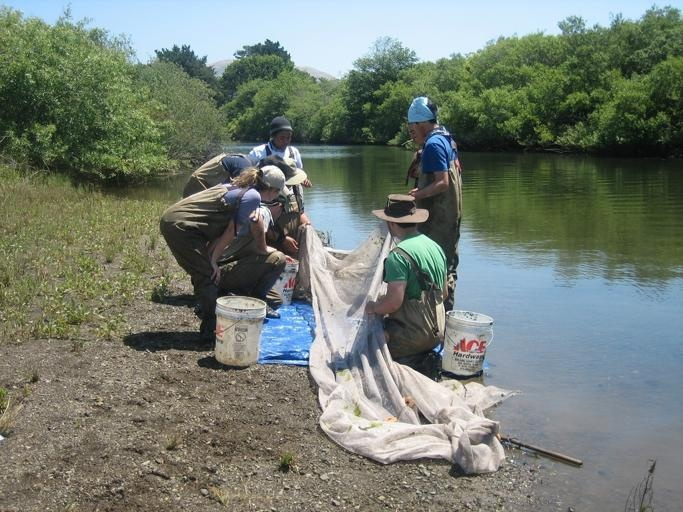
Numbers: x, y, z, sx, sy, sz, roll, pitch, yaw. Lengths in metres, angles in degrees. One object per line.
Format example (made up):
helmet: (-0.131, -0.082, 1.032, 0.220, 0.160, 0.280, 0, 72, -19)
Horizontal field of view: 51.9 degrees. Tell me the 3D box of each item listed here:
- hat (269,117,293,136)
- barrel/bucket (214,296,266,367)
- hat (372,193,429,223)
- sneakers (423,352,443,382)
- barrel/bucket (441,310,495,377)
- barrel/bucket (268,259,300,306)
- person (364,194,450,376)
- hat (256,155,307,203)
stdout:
hat: (-1.015, -2.135, 11.500, 0.310, 0.298, 0.322, 15, 5, 29)
barrel/bucket: (-1.243, 0.874, 8.759, 0.751, 0.809, 0.767, 4, 5, 0)
hat: (0.823, -0.561, 8.691, 0.470, 0.187, 0.433, 1, 13, -41)
sneakers: (1.182, 1.401, 8.967, 0.274, 0.513, 0.300, 0, -5, 9)
barrel/bucket: (1.682, 1.091, 8.887, 0.752, 0.797, 0.708, 6, 3, 0)
barrel/bucket: (-0.882, 0.357, 10.596, 0.583, 0.663, 0.593, 8, 8, -1)
person: (0.876, 0.393, 8.754, 0.700, 2.289, 1.094, 6, 9, 38)
hat: (-0.869, -1.156, 10.364, 0.669, 0.259, 0.551, 22, 23, 14)
